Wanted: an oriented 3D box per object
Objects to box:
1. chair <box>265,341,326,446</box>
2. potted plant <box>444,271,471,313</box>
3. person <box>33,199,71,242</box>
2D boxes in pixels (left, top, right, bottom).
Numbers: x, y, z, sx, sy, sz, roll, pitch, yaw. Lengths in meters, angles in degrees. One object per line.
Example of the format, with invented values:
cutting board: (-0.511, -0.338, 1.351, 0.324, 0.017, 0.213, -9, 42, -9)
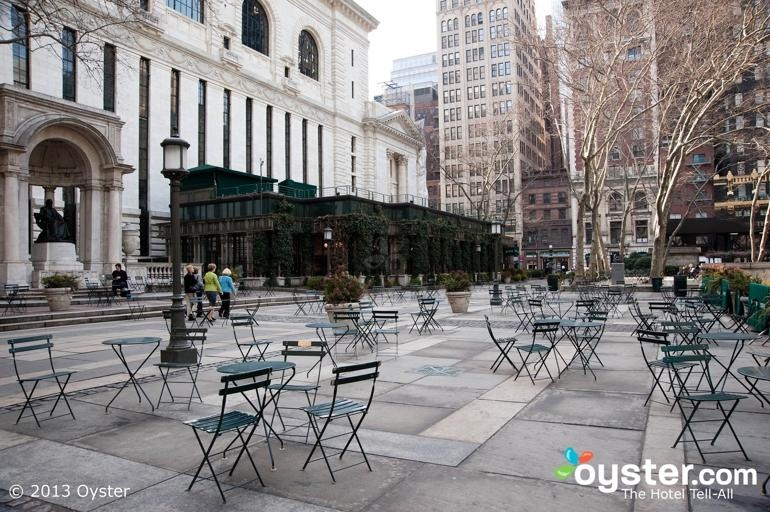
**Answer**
chair: (-2.410, 3.592, 18.874, 1.565, 2.398, 1.877, -2, -4, 20)
potted plant: (3.808, 1.726, 34.277, 1.488, 1.985, 1.343, -2, 0, -1)
person: (-18.686, -1.972, 38.055, 1.585, 2.524, 0.908, -2, 1, -26)
